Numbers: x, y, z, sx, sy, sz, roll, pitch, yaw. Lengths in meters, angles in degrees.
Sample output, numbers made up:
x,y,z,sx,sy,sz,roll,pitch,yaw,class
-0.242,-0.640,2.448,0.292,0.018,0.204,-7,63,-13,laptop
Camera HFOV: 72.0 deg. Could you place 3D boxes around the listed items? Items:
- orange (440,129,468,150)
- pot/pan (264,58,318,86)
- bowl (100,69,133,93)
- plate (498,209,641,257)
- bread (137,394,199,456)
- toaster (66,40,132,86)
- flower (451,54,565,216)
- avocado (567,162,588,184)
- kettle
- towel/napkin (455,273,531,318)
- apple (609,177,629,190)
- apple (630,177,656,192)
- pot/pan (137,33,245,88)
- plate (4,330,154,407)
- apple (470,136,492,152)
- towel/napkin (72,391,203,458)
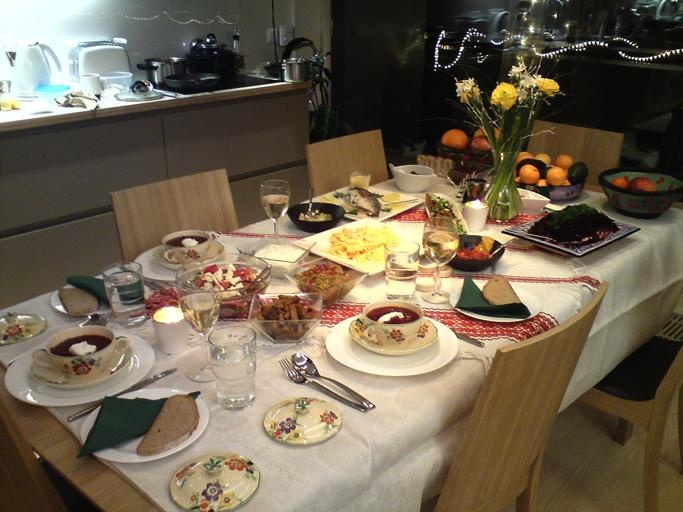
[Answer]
x,y,z,sx,sy,sz,roll,pitch,yaw,class
0.537,-0.552,2.267,0.118,0.104,0.130,5,27,7,orange
-0.417,-1.360,3.549,0.276,0.159,0.446,-13,21,-33,pot/pan
-1.388,-1.094,2.926,0.171,0.107,0.159,4,26,-2,bowl
0.894,-0.072,1.721,0.338,0.057,0.251,-19,30,-30,plate
-0.334,0.338,0.967,0.084,0.023,0.164,16,26,2,bread
-1.522,-1.191,2.914,0.319,0.246,0.165,-22,48,-31,toaster
0.676,-0.429,1.940,0.462,0.523,0.340,0,18,-1,flower
1.040,-0.378,2.122,0.107,0.073,0.076,-25,42,-34,avocado
-1.756,-1.119,2.836,0.411,0.354,0.291,-6,38,-32,kettle
0.444,0.120,1.357,0.123,0.034,0.123,17,27,-1,towel/napkin
1.200,-0.309,2.026,0.088,0.041,0.081,-1,33,13,apple
1.245,-0.293,1.939,0.081,0.049,0.096,4,24,12,apple
-1.004,-1.336,3.280,0.723,0.253,0.500,-18,34,-33,pot/pan
-0.601,0.266,1.085,0.315,0.034,0.205,-8,28,-15,plate
0.647,-0.517,2.182,0.082,0.070,0.075,-4,0,-23,apple
-0.431,0.328,0.968,0.269,0.057,0.181,-2,27,-4,towel/napkin
